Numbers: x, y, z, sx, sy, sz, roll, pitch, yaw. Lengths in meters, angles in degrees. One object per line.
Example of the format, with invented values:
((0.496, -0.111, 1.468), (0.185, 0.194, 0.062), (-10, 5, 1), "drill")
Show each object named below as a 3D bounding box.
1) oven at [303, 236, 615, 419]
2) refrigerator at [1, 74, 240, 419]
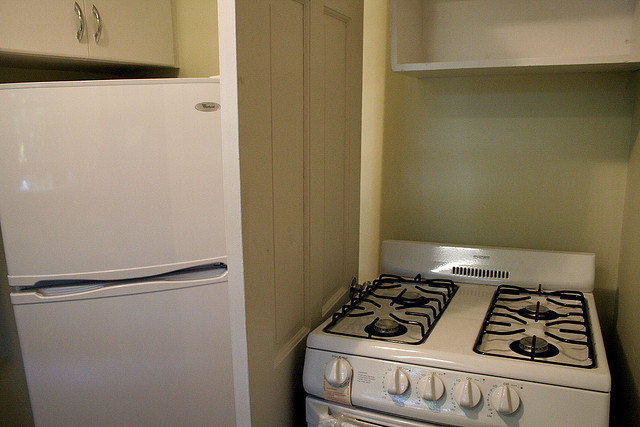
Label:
((0.525, 0.442, 1.821), (1.043, 0.482, 0.714), (5, 15, 15), "oven")
((-0.695, 0.148, 1.639), (0.752, 1.194, 0.249), (-2, 14, -10), "refrigerator")
